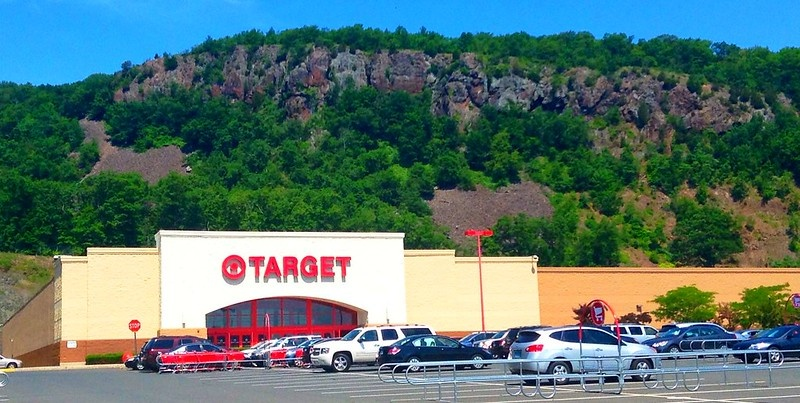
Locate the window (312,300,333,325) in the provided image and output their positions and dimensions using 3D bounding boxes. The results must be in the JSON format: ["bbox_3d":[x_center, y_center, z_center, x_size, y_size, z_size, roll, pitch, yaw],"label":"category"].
[{"bbox_3d":[-20.607,28.683,399.125,7.322,7.013,0.975,1,-7,-13],"label":"window"}]

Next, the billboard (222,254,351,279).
[{"bbox_3d":[-30.060,17.058,397.347,30.700,6.533,0.797,0,-8,-5],"label":"billboard"}]

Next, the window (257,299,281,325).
[{"bbox_3d":[-34.321,28.551,397.431,7.765,7.182,1.042,1,-6,-11],"label":"window"}]

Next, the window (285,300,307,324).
[{"bbox_3d":[-27.449,28.638,398.340,7.201,6.708,0.973,0,-5,0],"label":"window"}]

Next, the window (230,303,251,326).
[{"bbox_3d":[-41.564,29.051,396.888,6.838,6.522,0.732,0,-6,-10],"label":"window"}]

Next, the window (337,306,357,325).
[{"bbox_3d":[-14.338,29.477,399.712,5.555,6.328,0.771,0,-8,-15],"label":"window"}]
